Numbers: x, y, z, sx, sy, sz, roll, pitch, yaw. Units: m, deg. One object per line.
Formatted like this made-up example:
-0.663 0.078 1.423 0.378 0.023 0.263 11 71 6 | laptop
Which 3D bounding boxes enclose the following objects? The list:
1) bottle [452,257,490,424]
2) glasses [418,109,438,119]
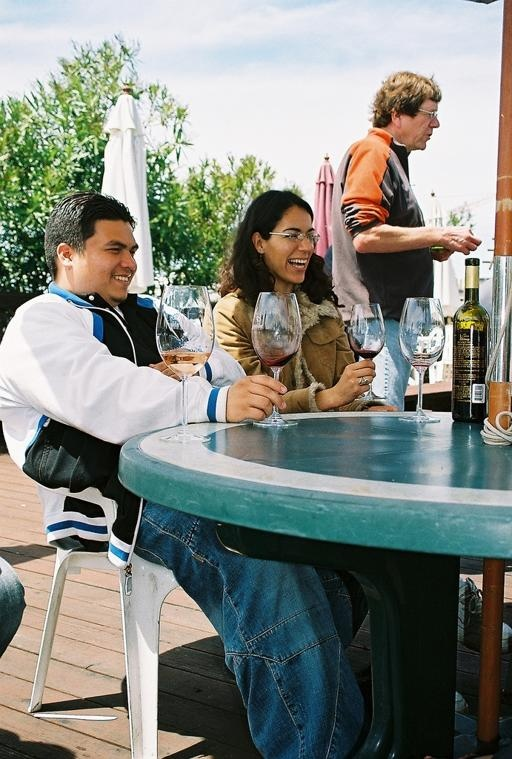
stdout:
0.375 -0.061 1.167 0.063 0.282 0.159 3 3 17 | bottle
0.714 -1.124 2.783 0.067 0.022 0.066 -16 33 -31 | glasses
